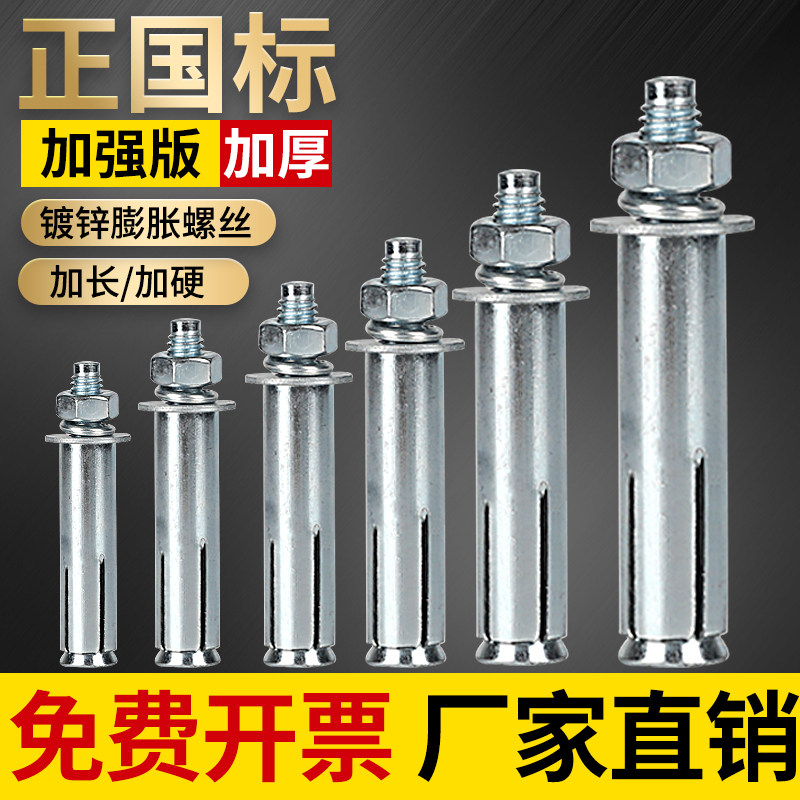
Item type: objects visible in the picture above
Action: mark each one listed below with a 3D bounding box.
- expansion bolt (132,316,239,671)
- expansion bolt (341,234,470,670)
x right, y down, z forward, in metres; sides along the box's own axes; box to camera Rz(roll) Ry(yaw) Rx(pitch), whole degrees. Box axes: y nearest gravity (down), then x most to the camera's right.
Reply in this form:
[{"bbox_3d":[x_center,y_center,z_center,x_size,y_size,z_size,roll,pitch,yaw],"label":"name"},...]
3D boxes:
[{"bbox_3d":[-0.413,0.193,2.728,0.183,0.671,0.359,-3,31,-10],"label":"expansion bolt"},{"bbox_3d":[0.003,0.116,2.589,0.223,0.805,0.489,2,30,-2],"label":"expansion bolt"}]
